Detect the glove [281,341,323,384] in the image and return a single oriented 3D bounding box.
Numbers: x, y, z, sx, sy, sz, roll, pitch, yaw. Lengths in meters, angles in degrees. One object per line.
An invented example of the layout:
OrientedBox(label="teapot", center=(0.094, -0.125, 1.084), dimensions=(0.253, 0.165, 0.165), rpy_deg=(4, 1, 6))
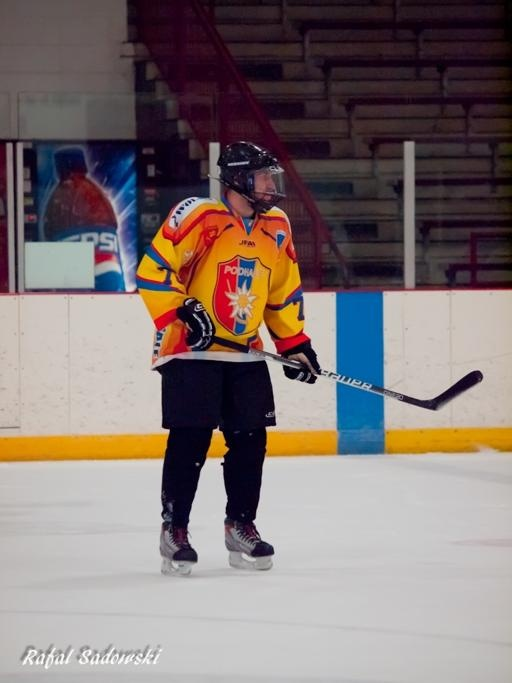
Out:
OrientedBox(label="glove", center=(0.129, 0.066, 3.051), dimensions=(0.114, 0.113, 0.053), rpy_deg=(-33, 3, 40))

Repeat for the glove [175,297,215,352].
OrientedBox(label="glove", center=(-0.152, -0.038, 2.728), dimensions=(0.054, 0.122, 0.091), rpy_deg=(-23, 56, -26))

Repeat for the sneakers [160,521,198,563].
OrientedBox(label="sneakers", center=(-0.198, 0.516, 2.755), dimensions=(0.086, 0.092, 0.139), rpy_deg=(3, 2, -8))

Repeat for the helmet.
OrientedBox(label="helmet", center=(-0.013, -0.441, 2.866), dimensions=(0.200, 0.199, 0.153), rpy_deg=(1, 3, 8))

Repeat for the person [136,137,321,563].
OrientedBox(label="person", center=(-0.074, 0.028, 2.888), dimensions=(0.449, 1.138, 0.452), rpy_deg=(4, 2, 11))

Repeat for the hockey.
OrientedBox(label="hockey", center=(0.360, 0.132, 4.190), dimensions=(0.777, 0.120, 0.034), rpy_deg=(22, -23, 0))
